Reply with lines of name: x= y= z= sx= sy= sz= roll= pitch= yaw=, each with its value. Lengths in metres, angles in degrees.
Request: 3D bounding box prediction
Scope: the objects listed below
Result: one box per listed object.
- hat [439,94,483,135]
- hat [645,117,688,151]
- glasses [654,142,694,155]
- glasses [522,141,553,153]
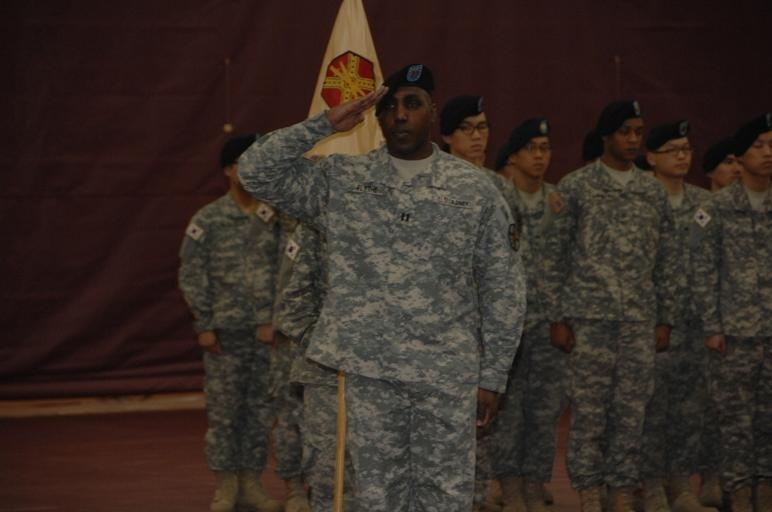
hat: x=0.475 y=-0.898 z=6.575 sx=0.216 sy=0.219 sz=0.282 roll=0 pitch=11 yaw=-42
hat: x=1.702 y=-0.723 z=6.523 sx=0.219 sy=0.087 sz=0.185 roll=-18 pitch=-2 yaw=44
glasses: x=1.755 y=-0.646 z=6.516 sx=0.109 sy=0.039 sz=0.124 roll=-1 pitch=-2 yaw=-31
glasses: x=0.922 y=-0.657 z=6.490 sx=0.097 sy=0.031 sz=0.095 roll=0 pitch=-10 yaw=-7
